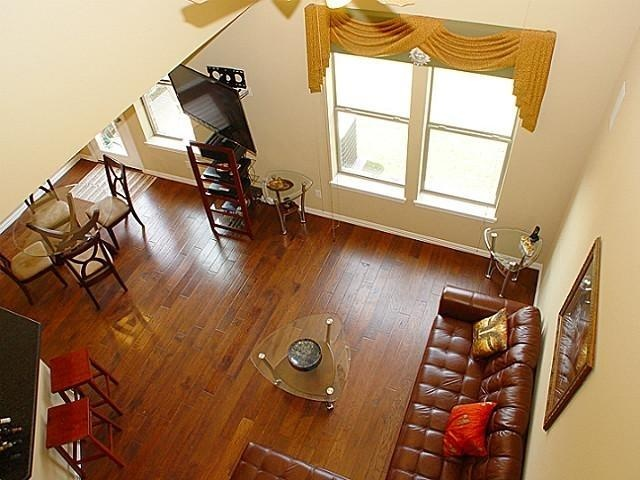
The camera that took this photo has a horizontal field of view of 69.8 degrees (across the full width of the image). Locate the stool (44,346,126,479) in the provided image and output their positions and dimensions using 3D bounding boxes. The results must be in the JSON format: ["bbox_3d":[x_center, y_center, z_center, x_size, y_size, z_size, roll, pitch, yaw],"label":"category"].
[{"bbox_3d":[-2.290,1.739,4.467,0.375,0.837,0.899,-17,58,-7],"label":"stool"}]

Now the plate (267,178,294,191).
[{"bbox_3d":[-0.539,-0.731,6.105,0.318,0.114,0.244,16,45,23],"label":"plate"}]

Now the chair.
[{"bbox_3d":[-3.178,-0.068,5.901,1.386,1.306,1.439,-6,40,0],"label":"chair"}]

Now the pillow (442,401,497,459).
[{"bbox_3d":[1.263,1.607,3.906,0.350,0.366,0.426,14,44,21],"label":"pillow"}]

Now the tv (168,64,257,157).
[{"bbox_3d":[-1.292,-1.542,5.325,1.143,1.010,0.256,21,45,28],"label":"tv"}]
